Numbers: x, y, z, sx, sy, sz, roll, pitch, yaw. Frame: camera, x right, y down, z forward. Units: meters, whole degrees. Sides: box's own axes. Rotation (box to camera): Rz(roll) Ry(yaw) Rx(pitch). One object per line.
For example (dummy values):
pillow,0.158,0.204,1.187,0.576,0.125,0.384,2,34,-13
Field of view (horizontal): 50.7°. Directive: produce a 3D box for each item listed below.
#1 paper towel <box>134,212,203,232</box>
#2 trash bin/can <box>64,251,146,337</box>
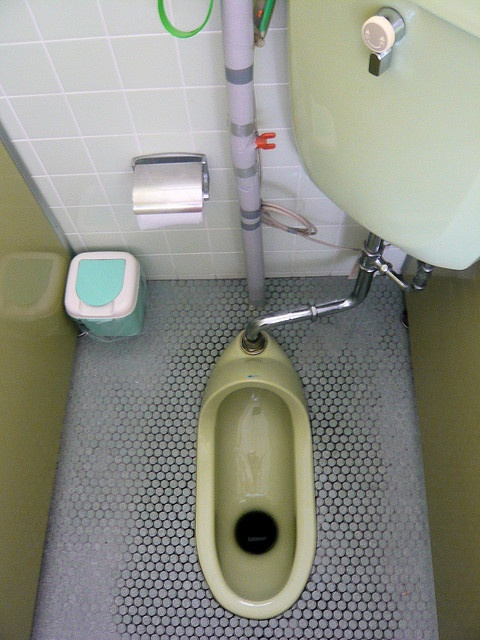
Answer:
paper towel,-0.170,-0.257,1.244,0.151,0.036,0.075,-3,25,0
trash bin/can,-0.402,-0.075,1.599,0.209,0.239,0.282,-4,-20,1
